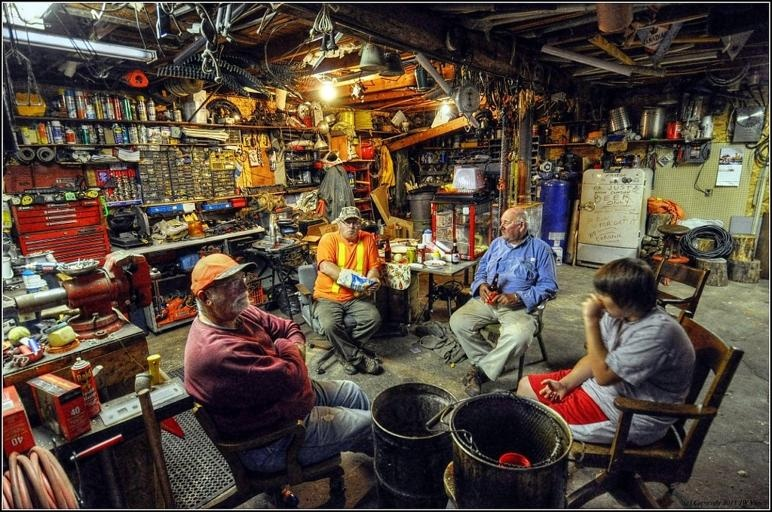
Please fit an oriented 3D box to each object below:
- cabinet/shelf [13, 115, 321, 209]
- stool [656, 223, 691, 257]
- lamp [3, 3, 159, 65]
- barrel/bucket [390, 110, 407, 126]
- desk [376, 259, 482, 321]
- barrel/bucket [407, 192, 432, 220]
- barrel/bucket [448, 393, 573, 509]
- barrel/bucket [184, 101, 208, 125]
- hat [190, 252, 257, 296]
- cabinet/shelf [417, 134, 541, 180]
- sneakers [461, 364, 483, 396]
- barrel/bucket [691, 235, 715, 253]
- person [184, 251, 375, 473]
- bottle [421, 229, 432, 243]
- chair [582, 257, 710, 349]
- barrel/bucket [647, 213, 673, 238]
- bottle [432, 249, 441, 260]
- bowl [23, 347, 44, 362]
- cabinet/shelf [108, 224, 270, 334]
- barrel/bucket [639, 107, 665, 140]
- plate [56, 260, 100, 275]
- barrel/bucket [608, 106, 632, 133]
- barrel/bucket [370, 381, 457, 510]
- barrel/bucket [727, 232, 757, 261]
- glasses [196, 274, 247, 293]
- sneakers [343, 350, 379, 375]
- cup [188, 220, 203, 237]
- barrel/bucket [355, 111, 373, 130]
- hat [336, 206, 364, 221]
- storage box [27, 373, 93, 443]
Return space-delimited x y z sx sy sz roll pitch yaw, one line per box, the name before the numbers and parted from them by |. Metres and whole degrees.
cabinet/shelf | -3.100 -1.362 7.144 4.111 1.175 0.476 -13 17 -42
stool | 4.760 -0.254 8.003 0.500 0.472 0.455 11 31 32
lamp | -3.359 -2.331 5.117 0.822 0.420 1.236 7 15 39
barrel/bucket | 0.302 -3.121 11.102 0.318 0.319 0.334 -12 24 5
desk | 0.678 0.513 6.702 1.696 0.706 0.847 3 15 15
barrel/bucket | 0.750 -1.055 10.550 0.612 0.537 0.596 -1 0 0
barrel/bucket | 0.813 1.525 3.917 1.026 0.887 0.915 -1 13 2
barrel/bucket | -2.807 -2.102 7.117 0.215 0.338 0.389 1 7 20
hat | -1.347 0.122 3.951 0.586 0.259 0.373 -19 4 24
cabinet/shelf | 1.879 -2.236 11.328 3.202 1.367 0.421 -6 -26 9
sneakers | 0.944 1.368 5.289 0.233 0.222 0.356 -1 12 10
barrel/bucket | 5.138 -0.165 7.814 0.329 0.210 0.269 -1 13 10
person | -0.973 0.877 3.992 1.303 1.796 0.720 -8 15 -17
bottle | 0.539 -0.247 6.312 0.124 0.178 0.145 -3 13 3
chair | 2.736 0.479 4.916 0.624 0.769 0.600 -5 18 -14
barrel/bucket | 4.682 -0.507 8.395 0.440 0.584 0.466 1 4 0
bottle | 0.653 -0.013 6.253 0.147 0.156 0.100 0 -5 -2
bowl | -2.665 0.748 3.673 0.118 0.065 0.117 0 -8 0
cabinet/shelf | -2.270 0.243 5.390 0.509 0.872 1.549 9 16 35
barrel/bucket | 4.639 -2.310 8.426 0.495 0.476 0.475 -3 15 1
plate | -2.501 0.102 3.905 0.348 0.104 0.217 4 13 28
barrel/bucket | 4.133 -2.403 8.637 0.157 0.424 0.357 -14 17 -36
barrel/bucket | 0.239 1.627 4.090 0.689 0.921 0.614 -2 14 6
barrel/bucket | 5.686 -0.135 7.722 0.497 0.458 0.458 -4 2 0
glasses | -1.324 0.230 3.864 0.401 0.155 0.183 -8 14 -24
sneakers | -0.197 1.251 5.589 0.524 0.197 0.180 -3 4 14
cup | -2.719 -0.376 6.926 0.241 0.211 0.218 -3 9 -20
barrel/bucket | -0.487 -2.877 10.312 0.151 0.387 0.628 6 12 43
hat | -0.444 -0.509 5.863 0.221 0.111 0.285 0 -2 -8
storage box | -2.403 1.112 3.579 0.461 0.403 0.201 7 17 37
